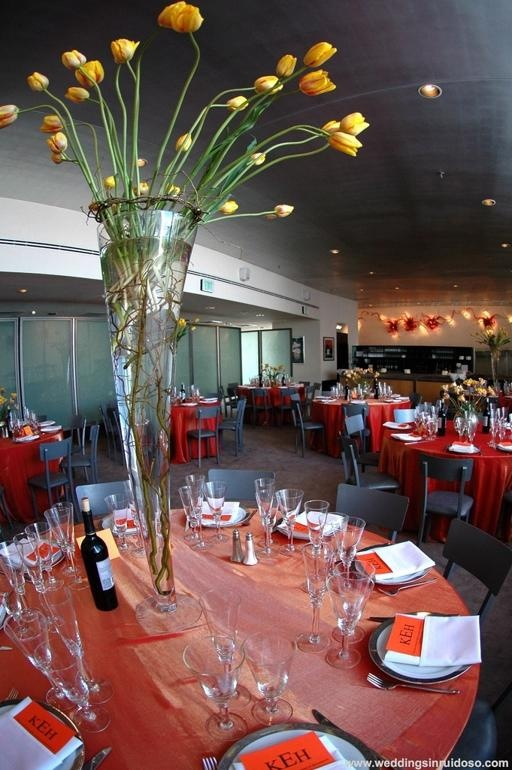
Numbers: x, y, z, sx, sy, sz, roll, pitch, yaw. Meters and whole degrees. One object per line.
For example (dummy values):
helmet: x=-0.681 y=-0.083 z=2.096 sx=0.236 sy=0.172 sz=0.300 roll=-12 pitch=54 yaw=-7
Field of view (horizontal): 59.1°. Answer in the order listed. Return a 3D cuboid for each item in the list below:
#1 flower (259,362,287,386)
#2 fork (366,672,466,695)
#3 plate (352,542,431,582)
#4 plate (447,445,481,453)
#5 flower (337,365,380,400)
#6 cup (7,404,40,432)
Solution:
flower: x=0.355 y=-0.202 z=9.929 sx=0.580 sy=0.624 sz=0.583 roll=-1 pitch=5 yaw=10
fork: x=0.309 y=0.596 z=0.896 sx=0.175 sy=0.014 sz=0.038 roll=-2 pitch=4 yaw=16
plate: x=0.428 y=0.547 z=1.390 sx=0.133 sy=0.023 sz=0.114 roll=-6 pitch=13 yaw=-18
plate: x=1.413 y=0.434 z=3.087 sx=0.090 sy=0.032 sz=0.096 roll=2 pitch=3 yaw=43
flower: x=1.955 y=-0.059 z=8.734 sx=0.739 sy=0.783 sz=0.686 roll=-4 pitch=5 yaw=-24
cup: x=-2.585 y=0.357 z=4.971 sx=0.162 sy=0.196 sz=0.170 roll=2 pitch=28 yaw=-1
